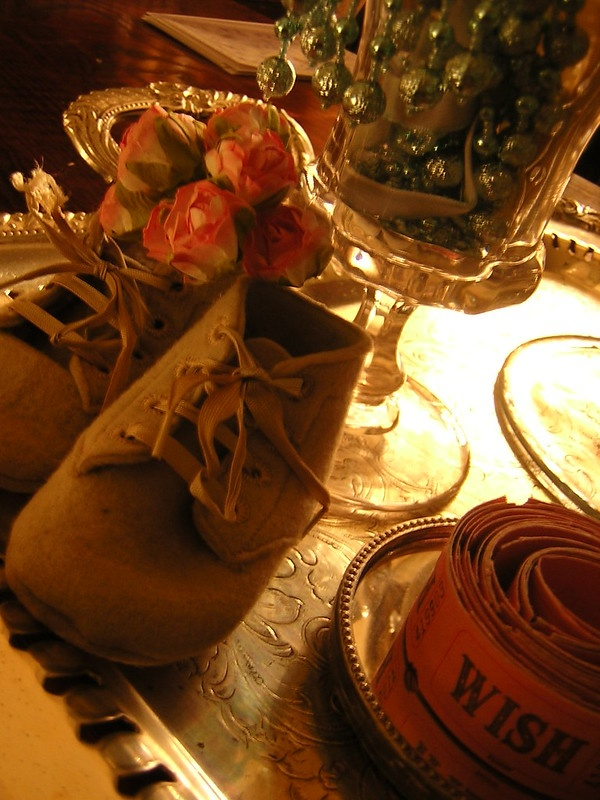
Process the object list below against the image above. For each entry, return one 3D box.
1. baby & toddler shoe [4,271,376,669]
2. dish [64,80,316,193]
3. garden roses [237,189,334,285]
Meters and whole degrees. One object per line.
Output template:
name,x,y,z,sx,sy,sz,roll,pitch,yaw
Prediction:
baby & toddler shoe,-0.052,0.031,0.366,0.136,0.151,0.181,24,30,11
dish,-0.150,-0.324,0.822,0.271,0.021,0.300,31,35,13
garden roses,-0.003,-0.102,0.419,0.064,0.056,0.028,-2,-11,3
